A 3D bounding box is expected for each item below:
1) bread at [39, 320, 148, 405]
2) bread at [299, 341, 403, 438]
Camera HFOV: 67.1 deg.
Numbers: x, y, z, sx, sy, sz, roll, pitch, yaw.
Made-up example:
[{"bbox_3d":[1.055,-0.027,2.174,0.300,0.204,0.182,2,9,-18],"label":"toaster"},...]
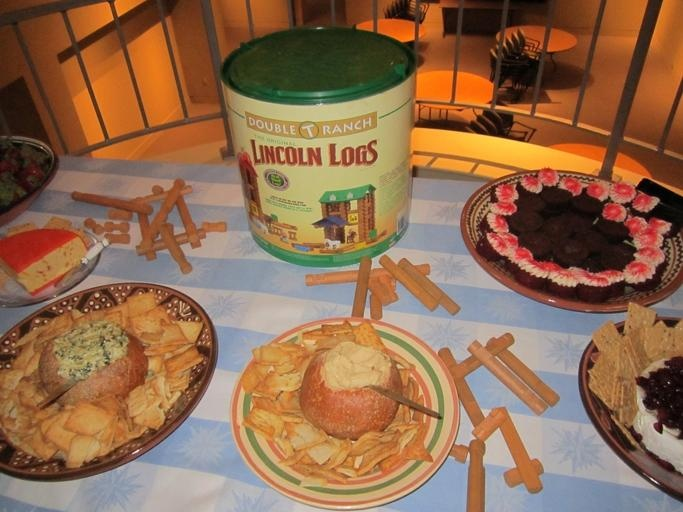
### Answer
[{"bbox_3d":[-0.554,0.238,1.164,0.215,0.096,0.172,-5,43,-6],"label":"bread"},{"bbox_3d":[0.014,0.277,1.102,0.192,0.127,0.187,-6,44,-7],"label":"bread"}]
